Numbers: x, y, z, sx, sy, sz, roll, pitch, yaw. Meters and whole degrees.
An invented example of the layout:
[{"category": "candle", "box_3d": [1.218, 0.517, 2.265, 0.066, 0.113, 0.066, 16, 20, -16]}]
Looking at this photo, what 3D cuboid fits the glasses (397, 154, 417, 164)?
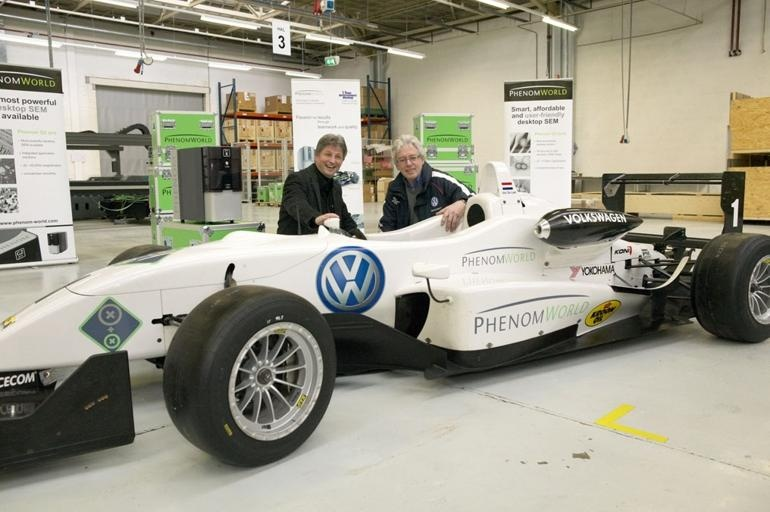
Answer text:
[{"category": "glasses", "box_3d": [0.190, -0.830, 4.832, 0.090, 0.034, 0.120, -6, -8, -1]}]
